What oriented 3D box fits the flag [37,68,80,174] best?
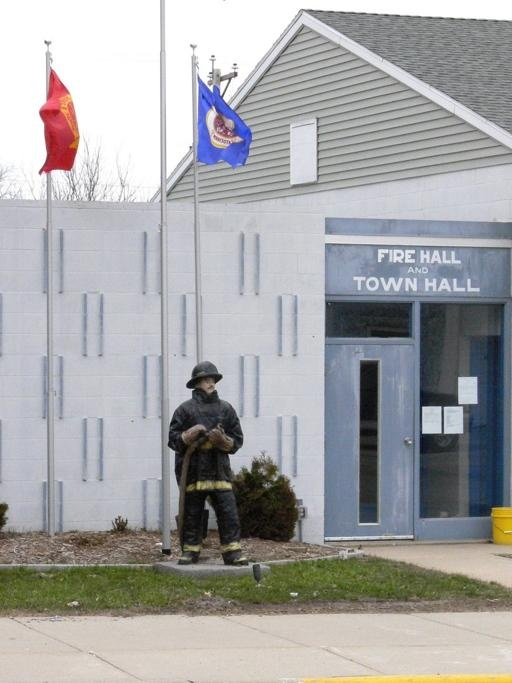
[{"bbox_3d":[-2.040,-2.389,20.958,0.454,1.430,0.214,-21,-36,17],"label":"flag"}]

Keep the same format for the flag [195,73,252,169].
[{"bbox_3d":[-0.380,-2.350,22.214,0.628,1.007,0.079,10,-25,-17],"label":"flag"}]

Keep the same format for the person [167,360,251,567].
[{"bbox_3d":[-0.518,1.197,19.827,0.764,1.871,0.864,2,10,-3],"label":"person"}]
